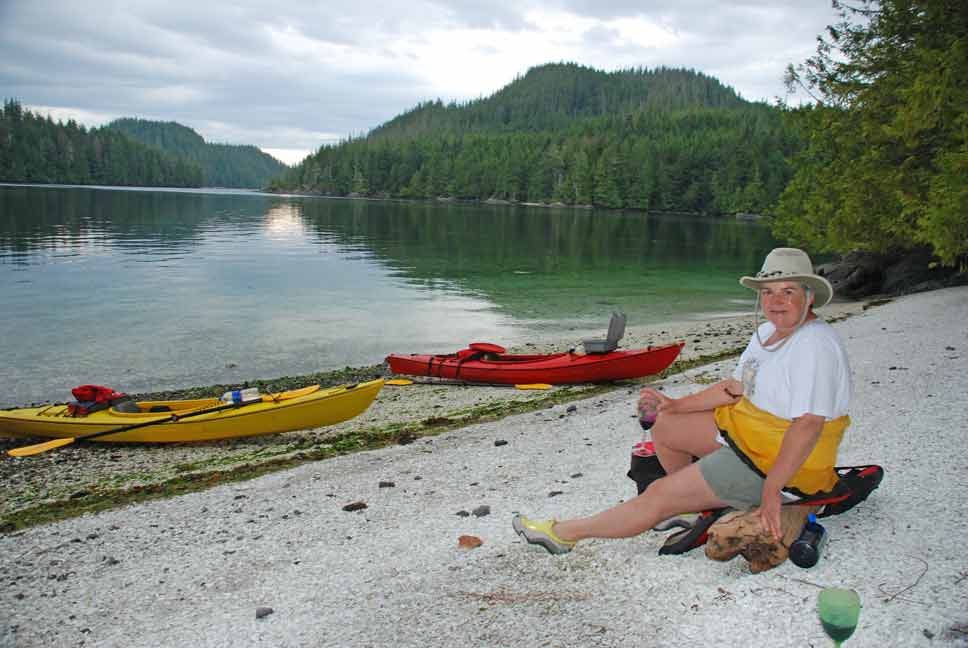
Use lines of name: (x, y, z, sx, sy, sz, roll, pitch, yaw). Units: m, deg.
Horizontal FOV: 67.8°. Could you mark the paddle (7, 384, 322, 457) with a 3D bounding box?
paddle: (-7.015, 2.216, 15.923, 6.292, 0.285, 0.823, -6, 9, -16)
